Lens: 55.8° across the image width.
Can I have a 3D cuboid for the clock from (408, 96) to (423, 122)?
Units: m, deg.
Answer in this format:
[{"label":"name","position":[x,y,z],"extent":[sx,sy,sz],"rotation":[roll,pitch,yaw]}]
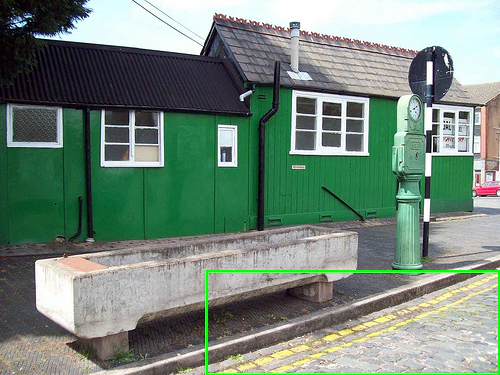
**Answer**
[{"label":"clock","position":[3.036,-1.448,8.736],"extent":[0.067,0.572,0.442],"rotation":[-1,1,40]}]
